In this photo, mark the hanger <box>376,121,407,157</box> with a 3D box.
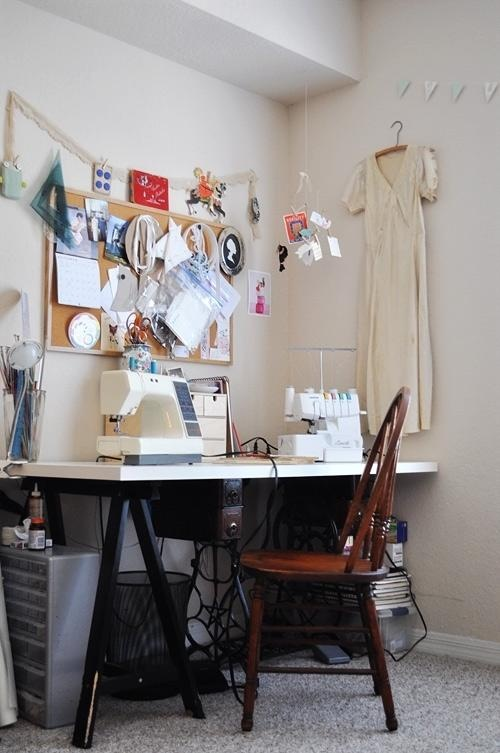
[{"bbox_3d":[0.595,-0.992,2.544,0.006,0.130,0.176,6,-9,-33],"label":"hanger"}]

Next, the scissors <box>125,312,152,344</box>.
[{"bbox_3d":[-0.401,-0.168,2.161,0.072,0.031,0.134,15,47,-26],"label":"scissors"}]

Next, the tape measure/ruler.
[{"bbox_3d":[-0.652,-0.595,2.032,0.154,0.305,0.027,8,-11,-39],"label":"tape measure/ruler"}]
